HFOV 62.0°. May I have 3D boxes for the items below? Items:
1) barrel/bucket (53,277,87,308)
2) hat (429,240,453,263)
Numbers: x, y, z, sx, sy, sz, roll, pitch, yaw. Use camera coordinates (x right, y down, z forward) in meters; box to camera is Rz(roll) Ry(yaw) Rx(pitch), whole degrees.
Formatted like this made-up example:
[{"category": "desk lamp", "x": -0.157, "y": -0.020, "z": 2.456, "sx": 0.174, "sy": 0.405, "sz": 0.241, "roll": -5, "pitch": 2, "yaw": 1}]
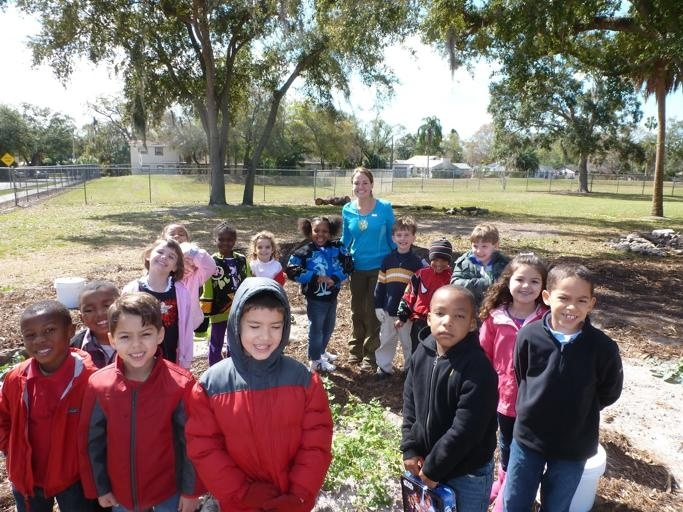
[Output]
[{"category": "barrel/bucket", "x": -3.482, "y": 0.464, "z": 7.248, "sx": 0.292, "sy": 0.291, "sz": 0.294, "roll": 4, "pitch": 13, "yaw": -1}, {"category": "hat", "x": 1.011, "y": -0.060, "z": 5.770, "sx": 0.173, "sy": 0.244, "sz": 0.238, "roll": 6, "pitch": 10, "yaw": 7}]
